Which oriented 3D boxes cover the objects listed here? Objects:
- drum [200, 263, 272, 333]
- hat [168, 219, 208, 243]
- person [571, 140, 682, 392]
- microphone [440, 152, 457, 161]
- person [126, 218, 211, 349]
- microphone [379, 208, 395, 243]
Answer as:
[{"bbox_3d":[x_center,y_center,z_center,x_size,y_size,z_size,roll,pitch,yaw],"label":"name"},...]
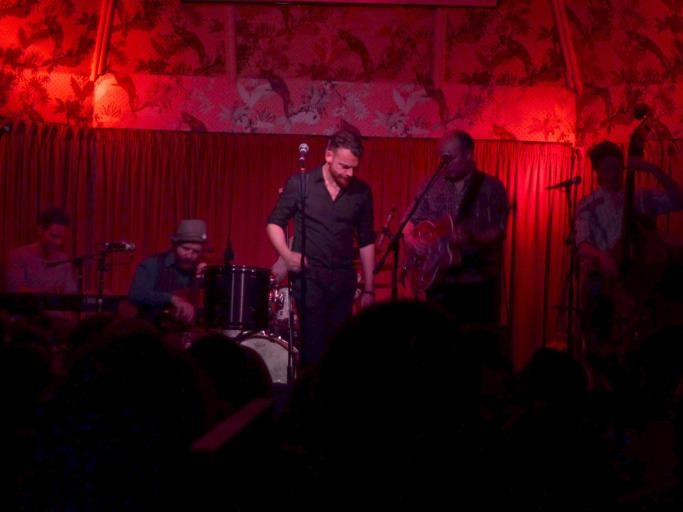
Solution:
[{"bbox_3d":[-0.683,0.266,3.947,0.406,0.324,0.398,1,-3,0],"label":"drum"},{"bbox_3d":[-1.222,-0.195,4.849,0.203,0.152,0.272,2,1,-5],"label":"hat"},{"bbox_3d":[1.645,0.014,3.434,0.678,1.539,0.438,0,-10,-9],"label":"person"},{"bbox_3d":[0.630,-0.581,3.559,0.055,0.046,0.076,-1,6,2],"label":"microphone"},{"bbox_3d":[-1.157,0.163,4.023,0.464,1.104,0.575,11,-33,-24],"label":"person"},{"bbox_3d":[0.376,-0.240,4.934,0.087,0.096,0.540,22,30,2],"label":"microphone"}]
